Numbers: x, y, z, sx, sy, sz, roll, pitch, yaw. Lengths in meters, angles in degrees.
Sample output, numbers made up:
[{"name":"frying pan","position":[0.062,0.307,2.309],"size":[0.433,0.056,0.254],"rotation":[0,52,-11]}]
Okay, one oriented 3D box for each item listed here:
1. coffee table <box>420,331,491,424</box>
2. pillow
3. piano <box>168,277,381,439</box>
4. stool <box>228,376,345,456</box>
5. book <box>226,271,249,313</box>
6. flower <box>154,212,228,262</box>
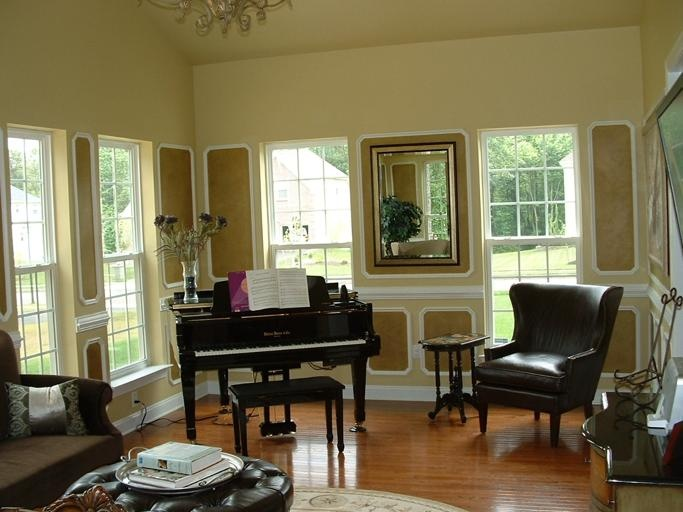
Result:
[{"name":"coffee table","position":[1.088,1.126,5.729],"size":[0.546,0.838,0.919],"rotation":[-2,-5,25]},{"name":"pillow","position":[-2.161,1.124,4.258],"size":[0.393,0.306,0.152],"rotation":[-1,-17,-22]},{"name":"piano","position":[-0.691,0.629,5.861],"size":[2.018,1.605,1.402],"rotation":[-1,-8,-10]},{"name":"stool","position":[-0.491,1.169,5.058],"size":[1.229,0.812,0.610],"rotation":[-1,-2,-15]},{"name":"book","position":[-0.921,0.323,5.225],"size":[0.199,0.351,0.127],"rotation":[-2,6,1]},{"name":"flower","position":[-1.563,-0.188,5.911],"size":[0.622,0.451,0.629],"rotation":[-4,-5,29]}]
